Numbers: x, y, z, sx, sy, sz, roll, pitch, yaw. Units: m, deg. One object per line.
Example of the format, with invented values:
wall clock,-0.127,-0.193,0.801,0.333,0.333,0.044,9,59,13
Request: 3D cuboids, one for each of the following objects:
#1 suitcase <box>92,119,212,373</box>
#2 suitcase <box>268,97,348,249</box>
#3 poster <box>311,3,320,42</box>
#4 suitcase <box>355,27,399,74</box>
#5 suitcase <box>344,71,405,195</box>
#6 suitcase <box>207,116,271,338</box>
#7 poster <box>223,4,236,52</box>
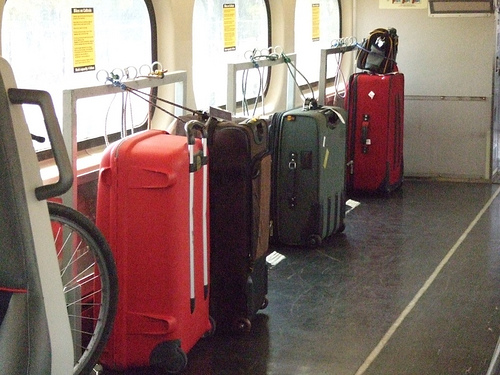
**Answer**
suitcase,-0.533,0.366,2.470,0.654,1.403,0.418,-4,13,-13
suitcase,0.532,-0.092,4.261,0.565,1.576,1.151,3,9,19
poster,0.931,-2.331,6.472,0.077,0.513,0.422,3,14,17
suitcase,1.622,-1.684,5.826,0.513,0.620,0.435,12,1,19
suitcase,1.565,-0.663,5.809,0.979,1.576,0.424,-5,14,-18
suitcase,-0.072,0.233,2.982,0.326,1.380,0.459,2,13,13
poster,-0.234,-1.677,4.800,0.029,0.477,0.211,7,15,32
